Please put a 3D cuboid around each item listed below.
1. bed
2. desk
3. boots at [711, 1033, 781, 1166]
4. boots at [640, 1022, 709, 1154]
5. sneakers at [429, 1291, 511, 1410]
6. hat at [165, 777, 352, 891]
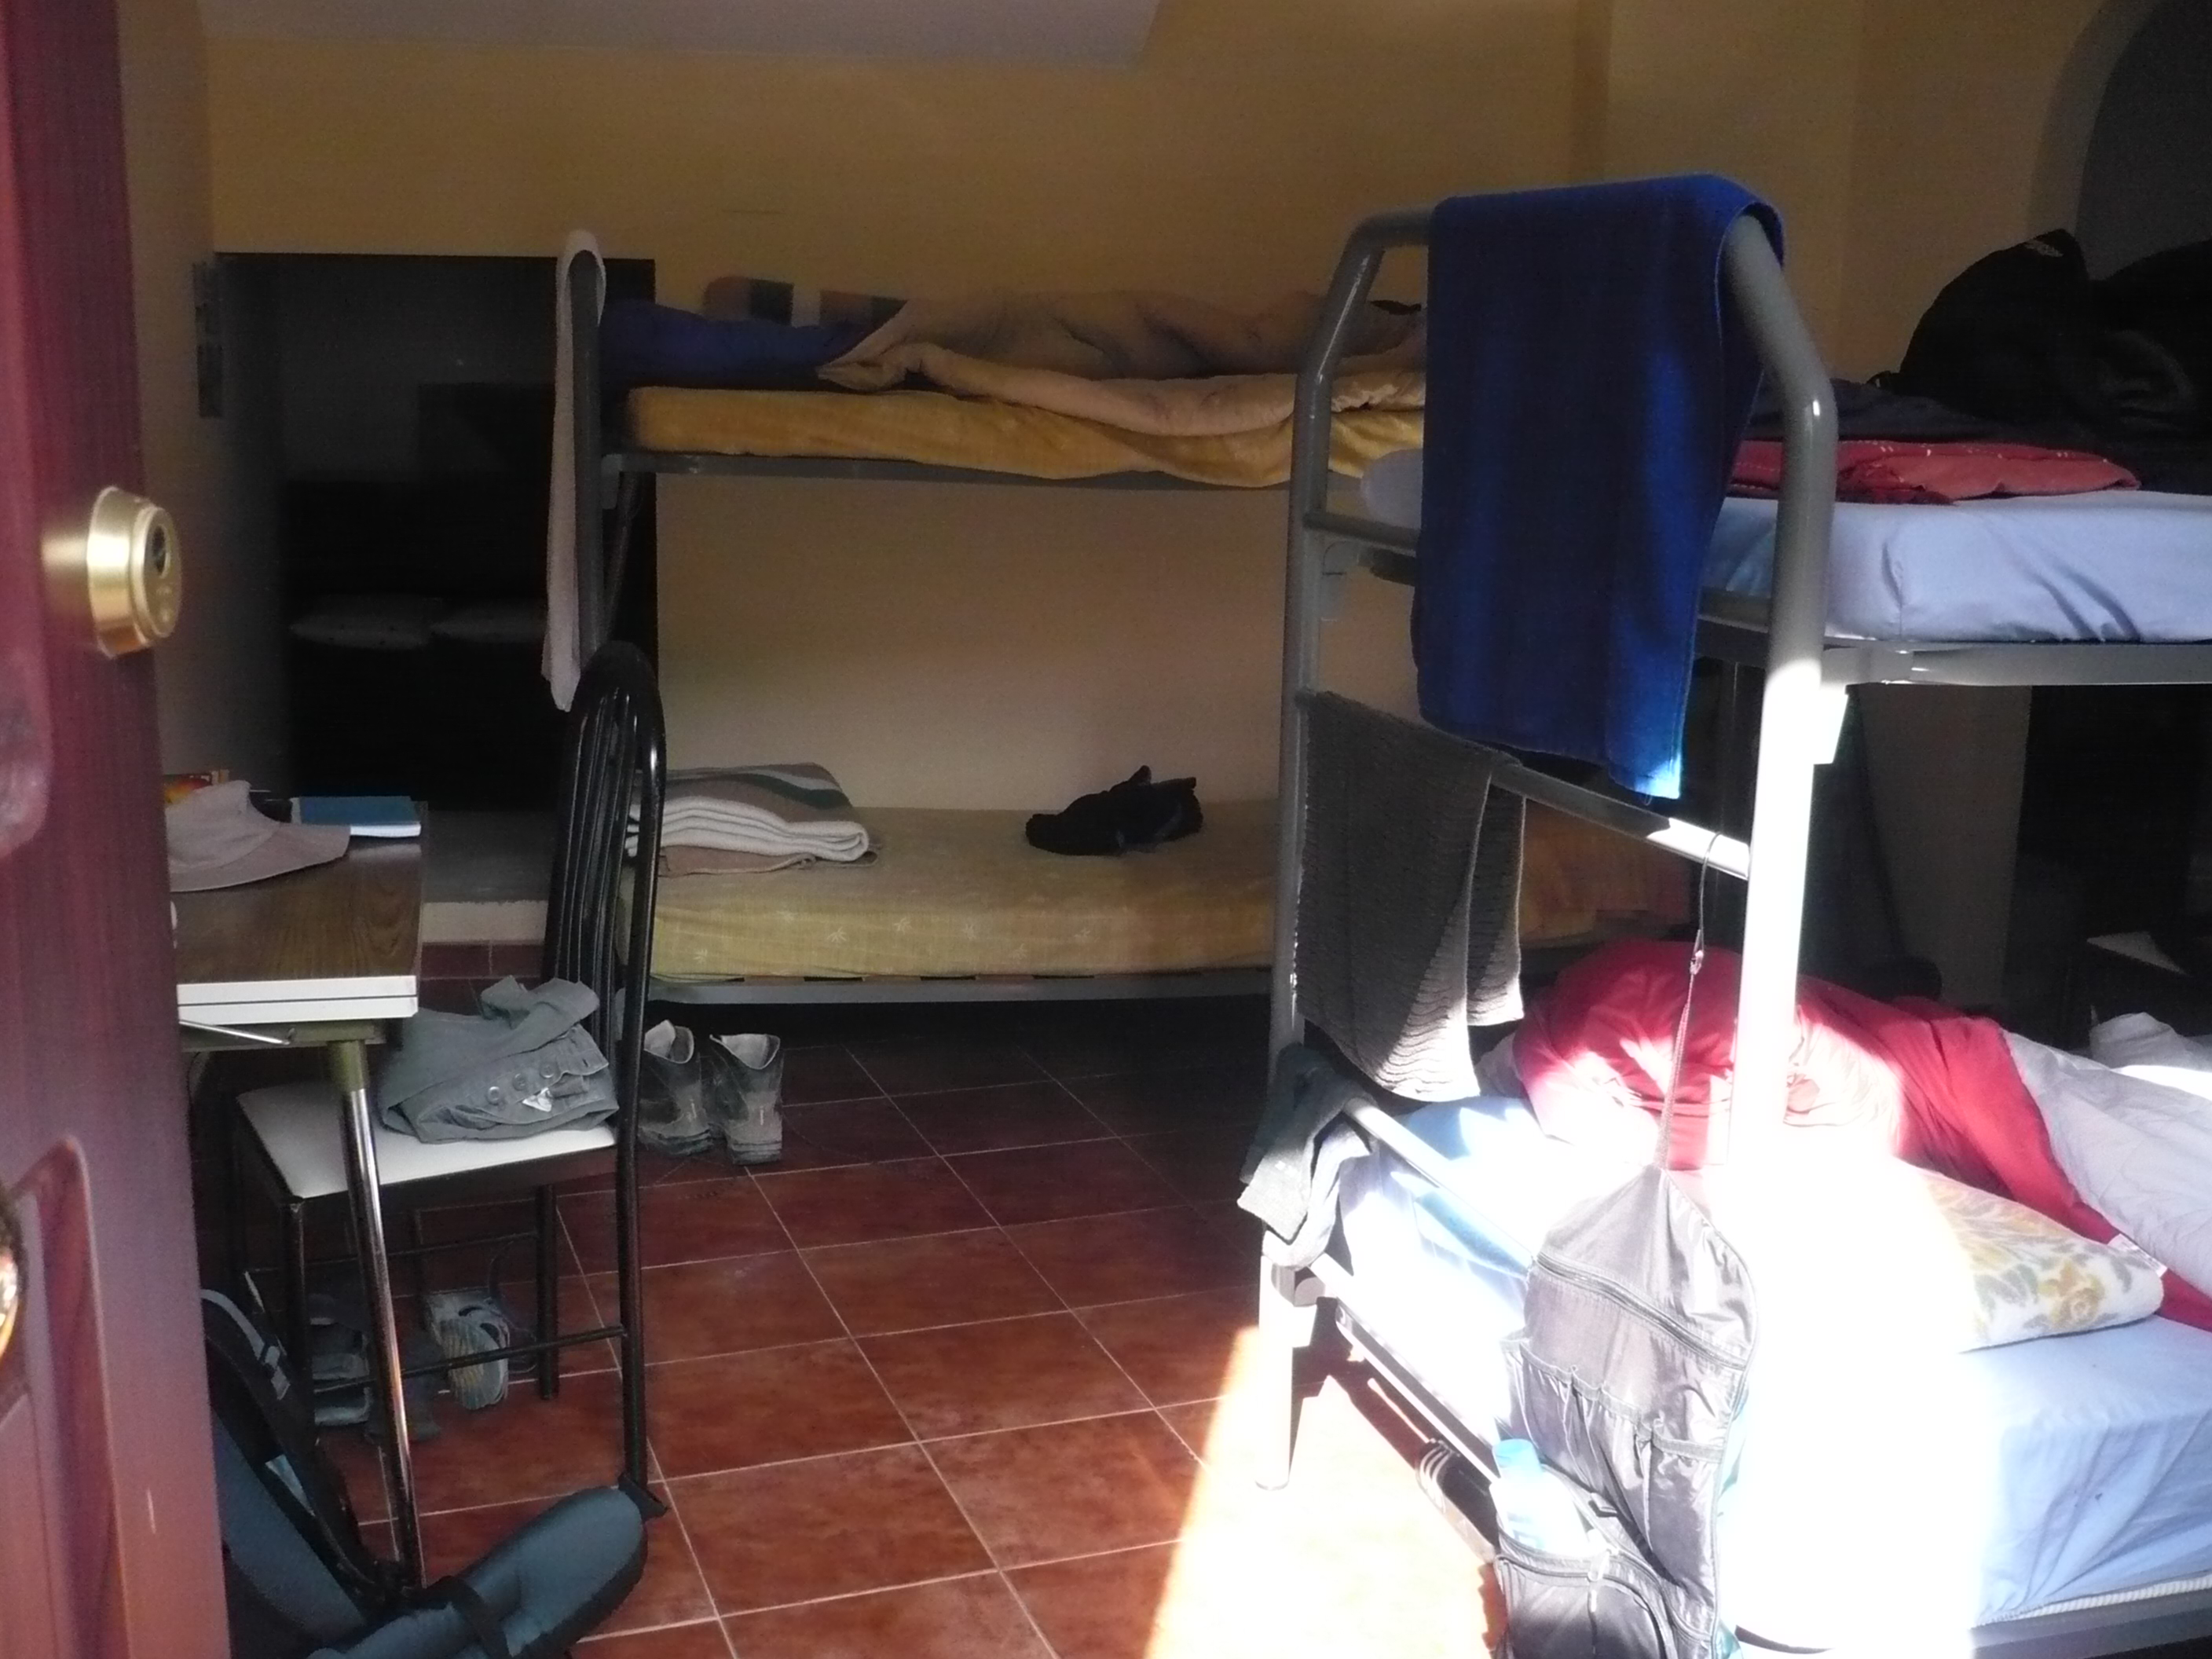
[{"bbox_3d":[0.371,0.110,2.711,0.889,1.594,2.460,-2,13,-21],"label":"bed"},{"bbox_3d":[-0.942,0.468,2.172,0.289,0.775,0.615,-5,14,-27],"label":"desk"},{"bbox_3d":[-0.743,0.531,3.693,0.131,0.231,0.416,-2,2,-18],"label":"boots"},{"bbox_3d":[-0.862,0.526,3.569,0.122,0.169,0.357,-1,9,-14],"label":"boots"},{"bbox_3d":[-0.921,0.761,2.579,0.109,0.053,0.148,6,46,-47],"label":"sneakers"},{"bbox_3d":[-1.140,0.011,2.392,0.206,0.074,0.161,-1,13,-19],"label":"hat"}]
